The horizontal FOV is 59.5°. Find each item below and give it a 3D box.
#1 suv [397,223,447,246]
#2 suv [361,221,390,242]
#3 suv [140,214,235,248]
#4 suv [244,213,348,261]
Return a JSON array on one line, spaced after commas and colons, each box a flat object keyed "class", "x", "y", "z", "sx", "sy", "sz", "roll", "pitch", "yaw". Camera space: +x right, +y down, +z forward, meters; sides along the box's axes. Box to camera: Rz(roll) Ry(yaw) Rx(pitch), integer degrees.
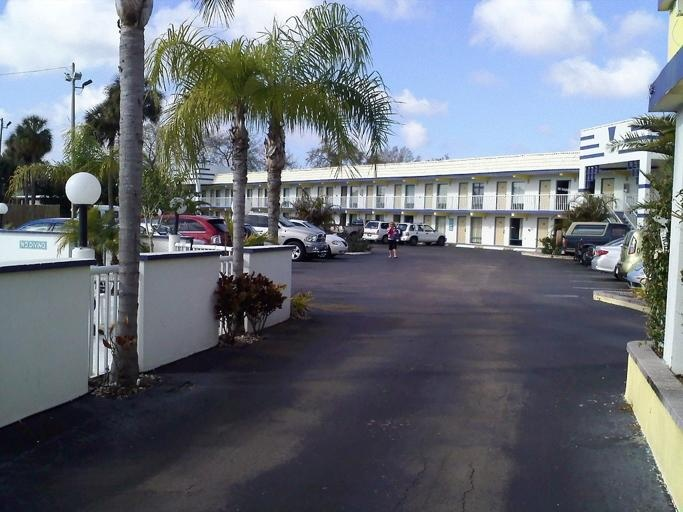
[{"class": "suv", "x": 6.233, "y": -1.698, "z": 47.018, "sx": 4.494, "sy": 1.765, "sz": 1.267, "roll": -3, "pitch": 6, "yaw": -39}, {"class": "suv", "x": 2.726, "y": -1.924, "z": 46.556, "sx": 1.143, "sy": 1.285, "sz": 2.347, "roll": 4, "pitch": 12, "yaw": 37}, {"class": "suv", "x": -4.457, "y": -0.839, "z": 18.378, "sx": 2.061, "sy": 0.957, "sz": 4.524, "roll": 0, "pitch": 6, "yaw": -16}, {"class": "suv", "x": -2.415, "y": -0.828, "z": 26.466, "sx": 4.137, "sy": 1.844, "sz": 2.034, "roll": 1, "pitch": 3, "yaw": 19}]
